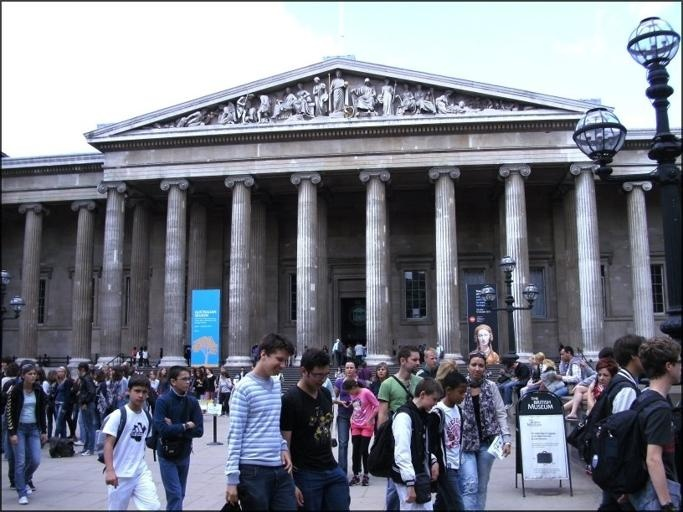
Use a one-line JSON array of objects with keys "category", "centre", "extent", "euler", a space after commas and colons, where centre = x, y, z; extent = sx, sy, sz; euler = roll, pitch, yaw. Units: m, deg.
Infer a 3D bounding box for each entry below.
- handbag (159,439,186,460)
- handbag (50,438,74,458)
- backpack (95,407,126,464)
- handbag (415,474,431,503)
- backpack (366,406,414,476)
[{"category": "handbag", "centre": [-2.676, 3.037, 11.514], "extent": [0.440, 0.401, 0.286], "euler": [3, -15, -13]}, {"category": "handbag", "centre": [-7.251, 4.936, 18.765], "extent": [0.617, 0.438, 0.480], "euler": [1, -4, -8]}, {"category": "backpack", "centre": [-3.630, 2.830, 11.509], "extent": [0.330, 0.875, 0.735], "euler": [2, -11, -22]}, {"category": "handbag", "centre": [1.111, 3.232, 10.011], "extent": [0.235, 0.415, 0.189], "euler": [-3, -10, 3]}, {"category": "backpack", "centre": [0.565, 2.730, 10.263], "extent": [0.432, 0.781, 0.157], "euler": [-7, -11, 26]}]
